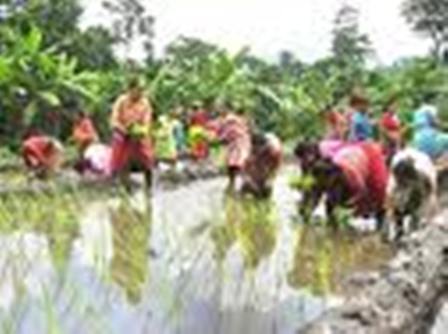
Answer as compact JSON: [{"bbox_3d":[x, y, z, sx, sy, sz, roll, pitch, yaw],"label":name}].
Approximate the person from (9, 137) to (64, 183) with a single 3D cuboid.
[{"bbox_3d":[-3.576,-0.147,7.611,0.616,0.893,0.898,1,10,32],"label":"person"}]
